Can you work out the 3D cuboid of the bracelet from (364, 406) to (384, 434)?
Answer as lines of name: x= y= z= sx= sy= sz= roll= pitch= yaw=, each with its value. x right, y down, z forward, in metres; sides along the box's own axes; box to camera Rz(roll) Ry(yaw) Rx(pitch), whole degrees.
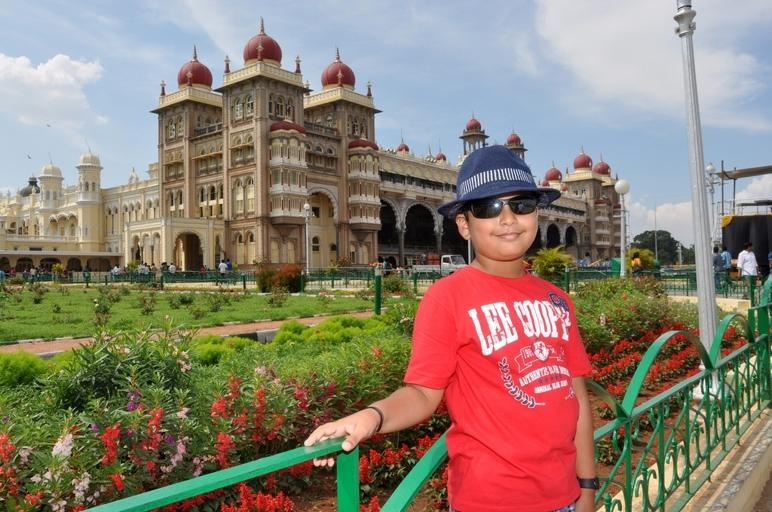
bracelet: x=-0.068 y=0.919 z=3.595 sx=0.097 sy=0.154 sz=0.080 roll=-3 pitch=-3 yaw=37

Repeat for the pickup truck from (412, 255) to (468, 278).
pickup truck: x=2.692 y=0.524 z=32.147 sx=2.335 sy=1.198 sz=1.400 roll=-5 pitch=-3 yaw=30

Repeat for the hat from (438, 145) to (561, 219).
hat: x=0.548 y=-0.442 z=4.134 sx=0.753 sy=0.362 sz=0.728 roll=-6 pitch=-2 yaw=-35

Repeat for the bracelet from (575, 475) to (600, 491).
bracelet: x=1.242 y=1.387 z=3.914 sx=0.110 sy=0.061 sz=0.094 roll=1 pitch=-3 yaw=-26
